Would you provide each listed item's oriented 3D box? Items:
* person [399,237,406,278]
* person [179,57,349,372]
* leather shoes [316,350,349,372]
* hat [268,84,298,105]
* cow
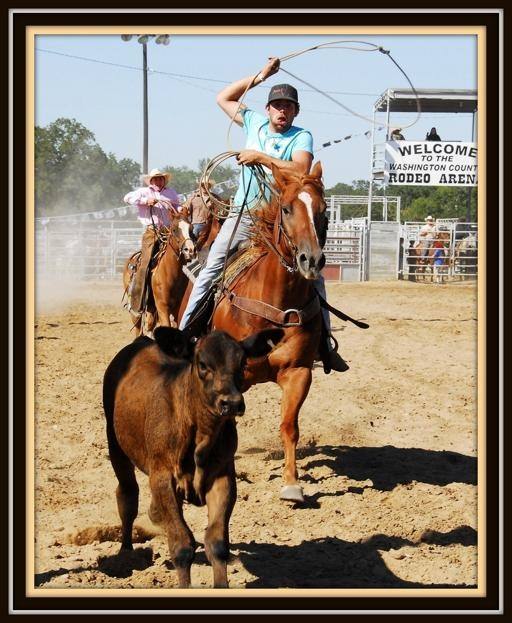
[{"bbox_3d":[5.147,-1.910,28.627,0.233,1.482,0.626,2,9,10],"label":"person"},{"bbox_3d":[0.078,-0.802,6.395,1.320,2.096,0.703,5,16,7],"label":"person"},{"bbox_3d":[0.755,0.433,7.079,0.173,0.132,0.328,3,1,-37],"label":"leather shoes"},{"bbox_3d":[0.197,-1.607,5.950,0.205,0.120,0.311,0,7,0],"label":"hat"},{"bbox_3d":[-0.401,0.850,4.612,0.737,1.442,2.429,1,-4,-17],"label":"cow"}]
